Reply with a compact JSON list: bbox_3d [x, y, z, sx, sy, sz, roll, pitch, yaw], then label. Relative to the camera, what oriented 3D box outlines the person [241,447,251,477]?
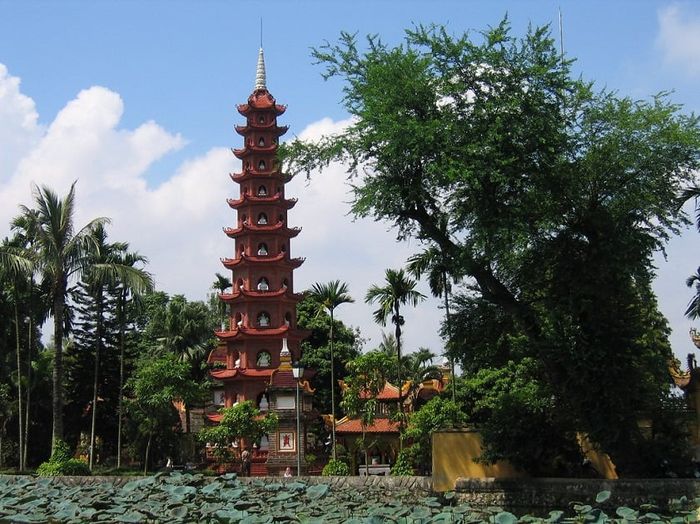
[{"bbox_3d":[-4.617,9.048,44.061,0.346,1.263,1.668,-2,-21,-9],"label":"person"}]
